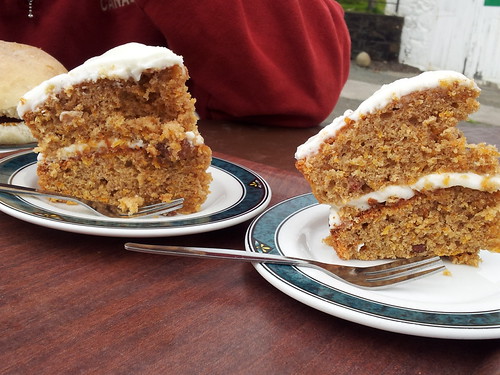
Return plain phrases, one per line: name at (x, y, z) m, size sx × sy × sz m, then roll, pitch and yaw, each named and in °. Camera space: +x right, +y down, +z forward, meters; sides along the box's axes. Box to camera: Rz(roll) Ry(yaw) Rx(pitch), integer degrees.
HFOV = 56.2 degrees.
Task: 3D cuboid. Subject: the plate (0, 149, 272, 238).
plate at (-0.197, -0.047, 1.277) m, size 0.484 × 0.051 × 0.444 m, roll 14°, pitch 17°, yaw 32°
